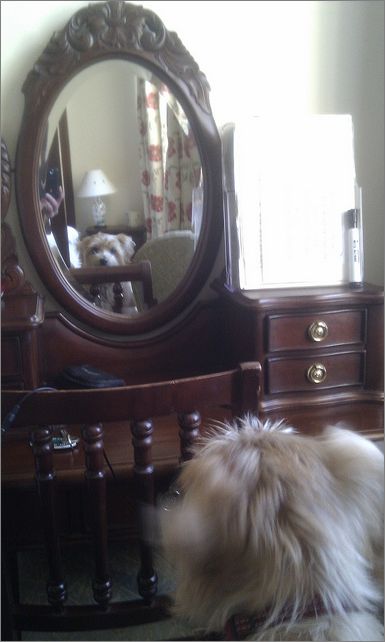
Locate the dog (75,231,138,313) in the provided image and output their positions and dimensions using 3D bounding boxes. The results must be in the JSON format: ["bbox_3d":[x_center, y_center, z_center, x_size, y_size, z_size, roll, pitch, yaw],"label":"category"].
[{"bbox_3d":[-0.207,-0.109,1.303,0.142,0.218,0.136,-4,-10,-26],"label":"dog"}]

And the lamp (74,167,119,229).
[{"bbox_3d":[-0.221,-0.292,1.244,0.101,0.167,0.111,-5,17,-7],"label":"lamp"}]

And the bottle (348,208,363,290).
[{"bbox_3d":[0.362,-0.167,1.176,0.030,0.165,0.054,-2,9,16],"label":"bottle"}]

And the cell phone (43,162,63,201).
[{"bbox_3d":[-0.319,-0.326,1.210,0.054,0.106,0.053,0,7,-11],"label":"cell phone"}]
